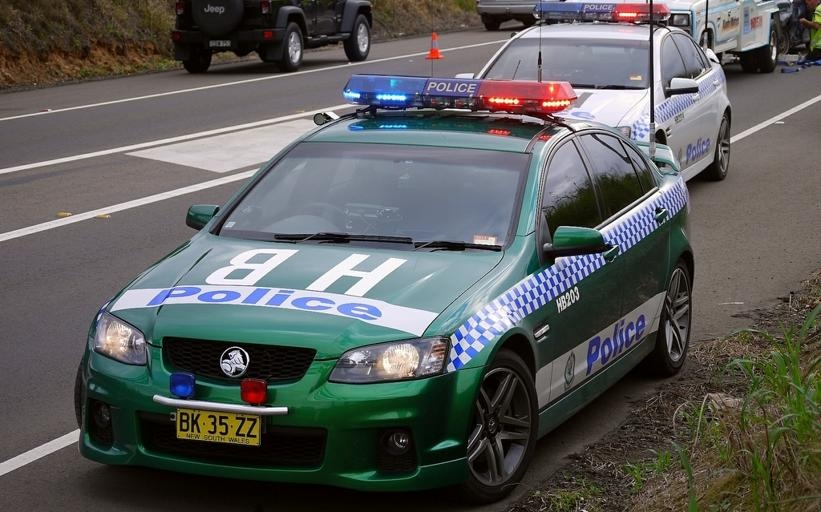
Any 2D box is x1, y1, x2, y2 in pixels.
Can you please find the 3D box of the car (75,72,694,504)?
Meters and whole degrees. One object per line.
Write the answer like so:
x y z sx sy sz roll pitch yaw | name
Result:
-0.020 0.252 4.952 4.310 2.441 2.330 -23 31 -37 | car
